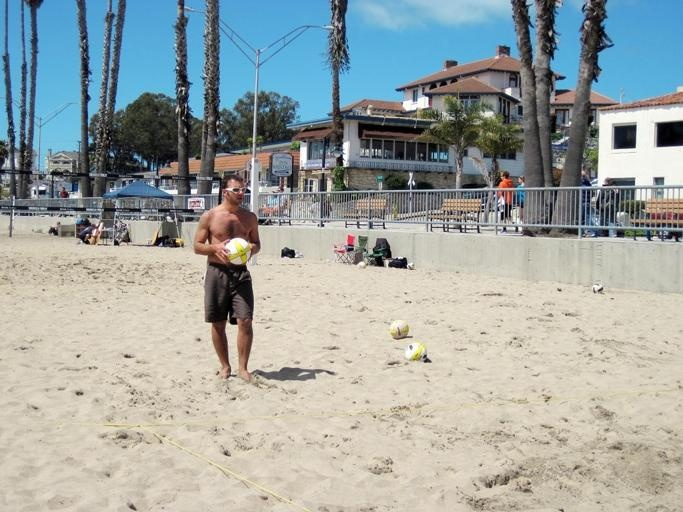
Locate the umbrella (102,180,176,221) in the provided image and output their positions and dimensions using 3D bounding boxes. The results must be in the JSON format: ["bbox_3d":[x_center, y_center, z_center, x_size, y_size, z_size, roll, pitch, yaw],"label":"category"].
[{"bbox_3d":[-7.576,-2.403,29.931,2.031,0.882,2.043,-1,0,-29],"label":"umbrella"}]

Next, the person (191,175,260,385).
[{"bbox_3d":[-1.331,0.228,9.259,0.743,2.334,0.664,3,3,-7],"label":"person"}]

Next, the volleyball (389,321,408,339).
[{"bbox_3d":[0.816,1.027,11.369,0.240,0.246,0.246,10,-27,14],"label":"volleyball"}]

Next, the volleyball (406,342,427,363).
[{"bbox_3d":[0.937,1.229,10.301,0.184,0.234,0.224,21,-30,-17],"label":"volleyball"}]

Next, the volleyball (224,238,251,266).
[{"bbox_3d":[-1.152,-0.064,9.083,0.338,0.298,0.254,2,3,-24],"label":"volleyball"}]

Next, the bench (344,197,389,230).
[{"bbox_3d":[0.627,-1.113,20.777,0.519,0.862,1.218,-13,10,-40],"label":"bench"}]

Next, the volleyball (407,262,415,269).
[{"bbox_3d":[1.646,0.219,19.090,0.136,0.131,0.159,-13,10,13],"label":"volleyball"}]

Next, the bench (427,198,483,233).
[{"bbox_3d":[2.605,-0.923,18.433,0.519,0.813,1.179,-9,11,-40],"label":"bench"}]

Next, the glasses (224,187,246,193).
[{"bbox_3d":[-1.209,-0.750,9.155,0.222,0.066,0.105,3,3,7],"label":"glasses"}]

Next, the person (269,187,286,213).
[{"bbox_3d":[-1.914,-1.617,24.427,0.185,0.588,1.026,1,3,-27],"label":"person"}]
